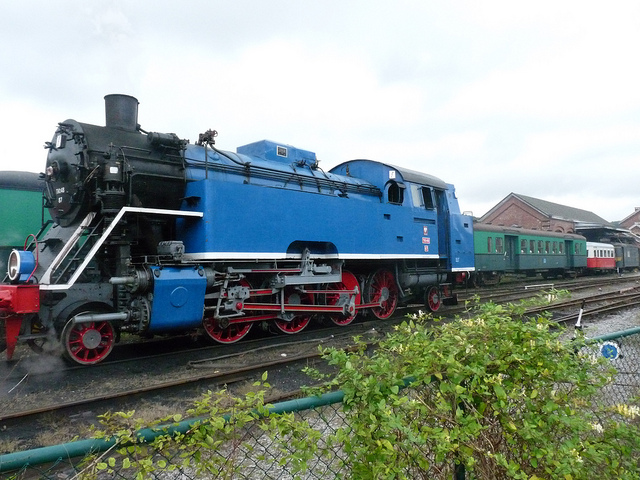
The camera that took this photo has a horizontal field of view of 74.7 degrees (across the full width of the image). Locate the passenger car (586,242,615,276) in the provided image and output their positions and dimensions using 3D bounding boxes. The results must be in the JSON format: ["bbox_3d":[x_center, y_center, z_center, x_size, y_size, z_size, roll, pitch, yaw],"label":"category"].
[{"bbox_3d":[21.444,1.405,32.749,4.567,2.280,1.614,1,-2,-35],"label":"passenger car"}]
